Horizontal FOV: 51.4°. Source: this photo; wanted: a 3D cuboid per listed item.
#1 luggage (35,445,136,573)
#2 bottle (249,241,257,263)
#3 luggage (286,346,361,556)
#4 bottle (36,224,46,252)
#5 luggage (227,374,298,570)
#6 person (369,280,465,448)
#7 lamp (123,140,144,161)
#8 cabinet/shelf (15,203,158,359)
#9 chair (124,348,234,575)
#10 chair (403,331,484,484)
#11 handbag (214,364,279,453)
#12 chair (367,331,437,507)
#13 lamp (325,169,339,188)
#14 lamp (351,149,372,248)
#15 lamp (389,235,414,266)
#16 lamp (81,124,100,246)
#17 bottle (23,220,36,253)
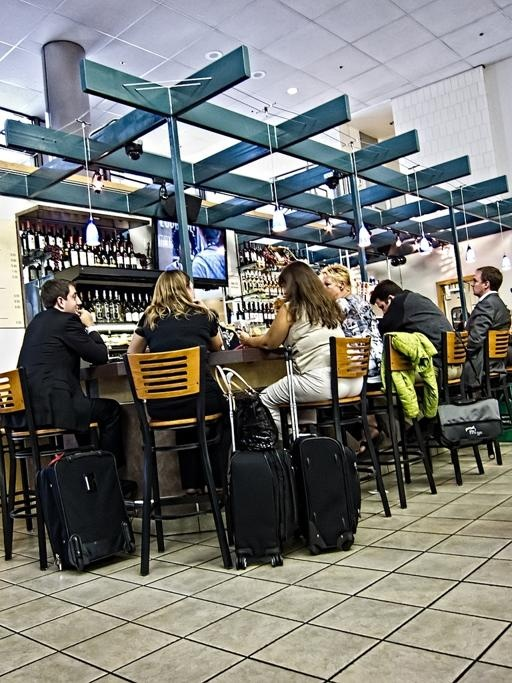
[{"bbox_3d":[-0.809,0.787,2.504,0.309,0.472,0.318,-8,-2,40],"label":"luggage"},{"bbox_3d":[-0.036,-1.506,9.149,0.083,0.316,0.343,0,-5,12],"label":"bottle"},{"bbox_3d":[0.314,0.662,2.346,0.291,0.682,0.236,-7,-1,4],"label":"luggage"},{"bbox_3d":[-2.511,-1.225,6.213,0.106,0.272,0.302,-6,-1,-20],"label":"bottle"},{"bbox_3d":[0.005,0.588,2.369,0.310,0.771,0.439,-7,-1,-3],"label":"luggage"},{"bbox_3d":[1.206,0.087,4.011,0.695,1.136,0.479,-2,14,46],"label":"person"},{"bbox_3d":[-1.149,-1.817,5.022,0.138,0.164,0.297,-7,-1,3],"label":"lamp"},{"bbox_3d":[-1.869,-0.721,6.425,0.568,1.532,1.725,-12,-3,27],"label":"cabinet/shelf"},{"bbox_3d":[-0.373,0.570,2.560,0.519,1.003,0.489,-5,-5,-21],"label":"chair"},{"bbox_3d":[1.340,0.384,3.308,0.431,0.814,0.272,-18,7,44],"label":"chair"},{"bbox_3d":[-0.051,0.330,2.566,0.250,0.454,0.184,-13,-19,9],"label":"handbag"},{"bbox_3d":[0.921,0.445,3.449,0.500,0.996,0.490,1,-7,25],"label":"chair"},{"bbox_3d":[0.981,-2.073,6.820,0.184,0.187,0.199,0,-2,32],"label":"lamp"},{"bbox_3d":[1.306,-1.771,6.845,0.139,1.236,0.556,-7,-1,11],"label":"lamp"},{"bbox_3d":[3.205,-1.966,11.725,0.634,0.571,0.150,5,12,-20],"label":"lamp"},{"bbox_3d":[-1.436,-1.366,4.605,0.140,1.046,0.133,-8,20,-30],"label":"lamp"},{"bbox_3d":[-2.610,-1.207,6.129,0.134,0.313,0.288,-6,-1,-21],"label":"bottle"}]
